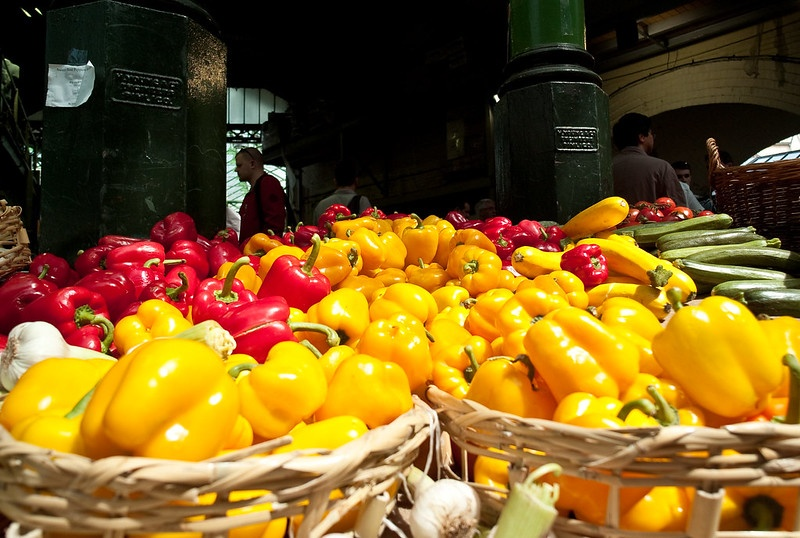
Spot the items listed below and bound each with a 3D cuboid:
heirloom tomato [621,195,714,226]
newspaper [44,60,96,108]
[{"bbox_3d":[2.034,-0.435,4.350,0.721,0.265,0.389,-4,-6,-14],"label":"heirloom tomato"},{"bbox_3d":[-2.471,-1.388,4.245,0.367,0.360,0.071,2,-1,7],"label":"newspaper"}]
